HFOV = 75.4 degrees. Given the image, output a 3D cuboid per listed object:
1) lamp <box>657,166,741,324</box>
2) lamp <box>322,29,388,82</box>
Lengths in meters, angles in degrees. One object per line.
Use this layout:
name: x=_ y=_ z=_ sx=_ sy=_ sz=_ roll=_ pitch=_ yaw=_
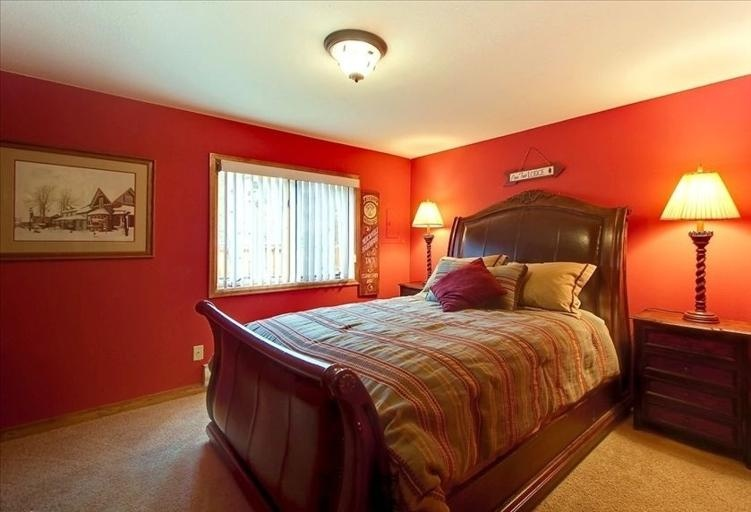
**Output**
lamp: x=2.686 y=-0.110 z=4.048 sx=0.522 sy=1.269 sz=0.440 roll=3 pitch=5 yaw=36
lamp: x=-0.145 y=-1.519 z=3.699 sx=0.493 sy=0.316 sz=0.249 roll=0 pitch=4 yaw=-9
